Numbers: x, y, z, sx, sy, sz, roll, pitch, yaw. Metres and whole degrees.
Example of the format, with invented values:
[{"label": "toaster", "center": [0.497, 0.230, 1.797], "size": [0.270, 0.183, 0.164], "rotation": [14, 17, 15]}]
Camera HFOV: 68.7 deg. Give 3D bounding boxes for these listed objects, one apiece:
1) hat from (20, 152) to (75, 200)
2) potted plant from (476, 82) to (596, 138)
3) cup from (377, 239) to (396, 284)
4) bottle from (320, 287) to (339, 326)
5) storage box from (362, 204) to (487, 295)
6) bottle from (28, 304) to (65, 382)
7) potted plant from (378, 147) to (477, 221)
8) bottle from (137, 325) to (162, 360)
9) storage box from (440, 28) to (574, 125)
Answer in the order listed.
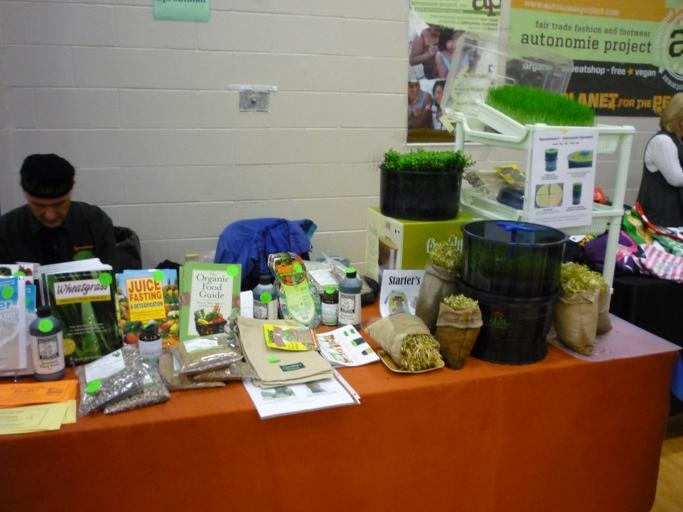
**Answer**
[{"label": "hat", "center": [-1.462, -0.428, 2.509], "size": [0.240, 0.119, 0.334], "rotation": [-14, 48, -32]}, {"label": "potted plant", "center": [0.933, -0.708, 2.367], "size": [0.489, 0.195, 0.466], "rotation": [6, 20, 26]}, {"label": "cup", "center": [0.228, 0.040, 2.347], "size": [0.112, 0.282, 0.060], "rotation": [7, 37, 10]}, {"label": "bottle", "center": [-0.045, 0.228, 2.165], "size": [0.081, 0.153, 0.083], "rotation": [-5, 3, 0]}, {"label": "storage box", "center": [0.361, -0.039, 2.380], "size": [0.387, 0.422, 0.393], "rotation": [1, 6, -7]}, {"label": "bottle", "center": [-1.049, 0.314, 1.788], "size": [0.110, 0.268, 0.111], "rotation": [0, 12, 0]}, {"label": "potted plant", "center": [0.358, -0.303, 2.213], "size": [0.322, 0.255, 0.338], "rotation": [1, 5, 7]}, {"label": "bottle", "center": [-0.709, 0.320, 1.865], "size": [0.080, 0.144, 0.084], "rotation": [4, 23, -2]}, {"label": "storage box", "center": [0.936, -0.893, 2.943], "size": [0.686, 0.531, 0.382], "rotation": [11, -10, 0]}]
